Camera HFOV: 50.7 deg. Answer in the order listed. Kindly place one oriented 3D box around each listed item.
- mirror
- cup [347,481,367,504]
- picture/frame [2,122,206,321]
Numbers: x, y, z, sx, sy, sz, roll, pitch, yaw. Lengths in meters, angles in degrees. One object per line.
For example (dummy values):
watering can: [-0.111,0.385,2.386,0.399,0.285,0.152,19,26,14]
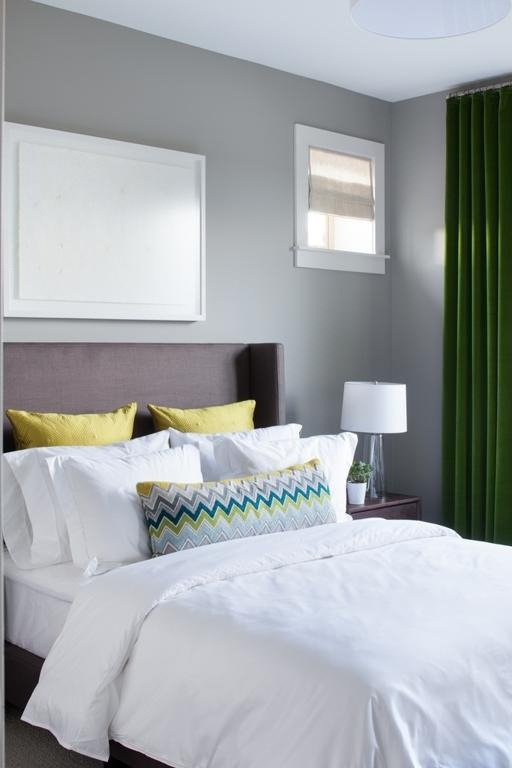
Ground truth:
mirror: [0.517,-1.217,3.524,0.915,1.321,0.118,2,-2,-43]
cup: [0.567,0.616,3.088,0.098,0.116,0.103,-1,-6,0]
picture/frame: [-0.739,-0.754,2.517,1.020,0.946,0.046,2,-4,-41]
